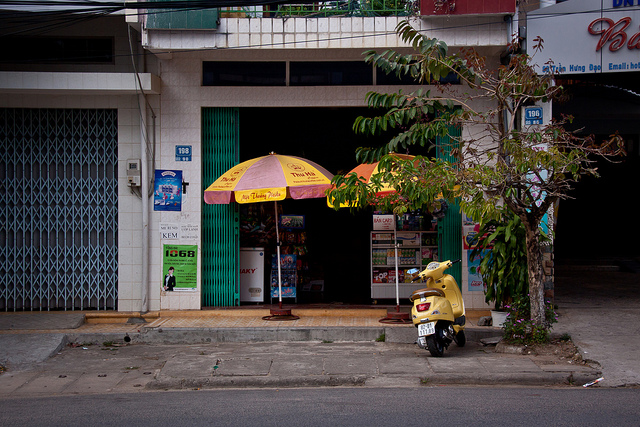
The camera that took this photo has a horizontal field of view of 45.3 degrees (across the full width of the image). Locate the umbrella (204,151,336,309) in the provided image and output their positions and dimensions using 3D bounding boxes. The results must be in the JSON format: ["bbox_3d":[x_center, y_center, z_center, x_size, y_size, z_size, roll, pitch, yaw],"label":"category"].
[{"bbox_3d":[-1.270,0.380,19.282,3.030,3.644,3.435,-1,-1,-7],"label":"umbrella"}]

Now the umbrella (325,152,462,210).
[{"bbox_3d":[1.222,-0.789,17.225,2.020,1.217,2.317,0,12,7],"label":"umbrella"}]

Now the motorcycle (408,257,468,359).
[{"bbox_3d":[2.479,2.013,16.104,1.097,1.879,0.643,-11,15,-38],"label":"motorcycle"}]
